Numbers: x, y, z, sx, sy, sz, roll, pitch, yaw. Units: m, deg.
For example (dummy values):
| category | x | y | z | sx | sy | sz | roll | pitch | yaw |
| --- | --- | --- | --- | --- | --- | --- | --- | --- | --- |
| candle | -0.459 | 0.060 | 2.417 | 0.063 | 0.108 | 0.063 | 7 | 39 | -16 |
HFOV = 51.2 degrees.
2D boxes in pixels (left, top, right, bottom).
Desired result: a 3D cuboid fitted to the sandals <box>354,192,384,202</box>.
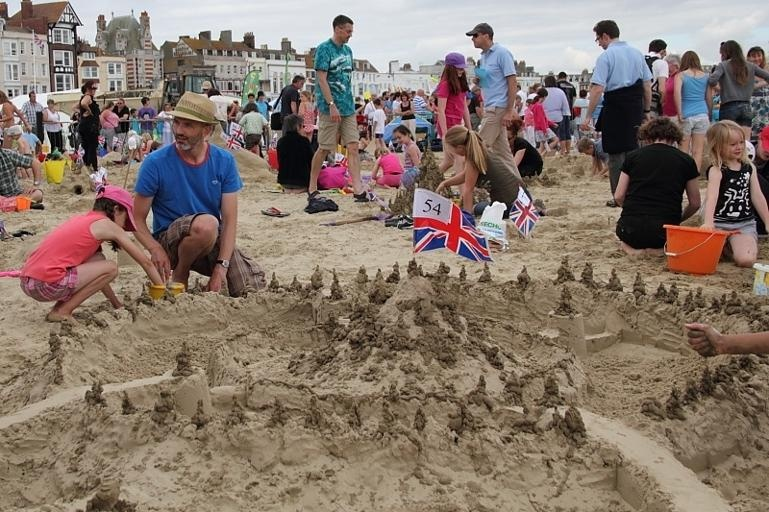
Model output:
| category | x | y | z | sx | sy | sz | roll | pitch | yaw |
| --- | --- | --- | --- | --- | --- | --- | --- | --- | --- |
| sandals | -0.201 | -0.819 | 10.747 | 0.438 | 0.193 | 0.158 | 0 | 9 | 19 |

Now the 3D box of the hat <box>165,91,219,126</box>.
| category | x | y | z | sx | sy | sz | roll | pitch | yaw |
| --- | --- | --- | --- | --- | --- | --- | --- | --- | --- |
| hat | -1.550 | -1.230 | 6.573 | 0.245 | 0.114 | 0.301 | 22 | -6 | 6 |

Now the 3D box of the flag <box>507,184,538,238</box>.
| category | x | y | z | sx | sy | sz | roll | pitch | yaw |
| --- | --- | --- | --- | --- | --- | --- | --- | --- | --- |
| flag | 1.516 | -0.501 | 8.850 | 0.559 | 0.824 | 0.057 | -8 | 9 | -33 |

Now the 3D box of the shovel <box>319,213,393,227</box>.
| category | x | y | z | sx | sy | sz | roll | pitch | yaw |
| --- | --- | --- | --- | --- | --- | --- | --- | --- | --- |
| shovel | -0.363 | -0.499 | 9.850 | 0.897 | 0.106 | 0.464 | -3 | 14 | -16 |

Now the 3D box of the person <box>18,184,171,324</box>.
| category | x | y | z | sx | sy | sz | roll | pitch | yaw |
| --- | --- | --- | --- | --- | --- | --- | --- | --- | --- |
| person | -2.416 | -0.124 | 6.814 | 1.286 | 1.215 | 0.761 | -11 | 26 | -37 |

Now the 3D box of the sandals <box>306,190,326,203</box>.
| category | x | y | z | sx | sy | sz | roll | pitch | yaw |
| --- | --- | --- | --- | --- | --- | --- | --- | --- | --- |
| sandals | -0.951 | -0.822 | 10.699 | 0.121 | 0.162 | 0.352 | -11 | 7 | -40 |

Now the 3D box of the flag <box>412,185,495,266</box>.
| category | x | y | z | sx | sy | sz | roll | pitch | yaw |
| --- | --- | --- | --- | --- | --- | --- | --- | --- | --- |
| flag | 0.692 | -0.293 | 8.010 | 0.848 | 0.711 | 0.103 | 0 | 7 | -15 |

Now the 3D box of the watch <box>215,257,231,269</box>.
| category | x | y | z | sx | sy | sz | roll | pitch | yaw |
| --- | --- | --- | --- | --- | --- | --- | --- | --- | --- |
| watch | -1.394 | 0.032 | 6.933 | 0.079 | 0.087 | 0.086 | 14 | 10 | 15 |

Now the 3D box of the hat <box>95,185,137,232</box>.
| category | x | y | z | sx | sy | sz | roll | pitch | yaw |
| --- | --- | --- | --- | --- | --- | --- | --- | --- | --- |
| hat | -2.173 | -0.448 | 6.646 | 0.385 | 0.209 | 0.261 | 38 | -6 | -29 |

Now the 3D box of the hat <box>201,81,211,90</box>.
| category | x | y | z | sx | sy | sz | roll | pitch | yaw |
| --- | --- | --- | --- | --- | --- | --- | --- | --- | --- |
| hat | -3.803 | -3.648 | 16.906 | 0.290 | 0.154 | 0.306 | 5 | 15 | 15 |

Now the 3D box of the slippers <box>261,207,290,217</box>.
| category | x | y | z | sx | sy | sz | roll | pitch | yaw |
| --- | --- | --- | --- | --- | --- | --- | --- | --- | --- |
| slippers | -1.424 | -0.588 | 10.342 | 0.365 | 0.130 | 0.164 | 8 | 17 | 38 |

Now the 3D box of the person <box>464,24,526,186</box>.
| category | x | y | z | sx | sy | sz | roll | pitch | yaw |
| --- | --- | --- | --- | --- | --- | --- | --- | --- | --- |
| person | 1.361 | -1.990 | 9.922 | 0.653 | 1.778 | 1.183 | 1 | 12 | 3 |

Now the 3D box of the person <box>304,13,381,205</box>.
| category | x | y | z | sx | sy | sz | roll | pitch | yaw |
| --- | --- | --- | --- | --- | --- | --- | --- | --- | --- |
| person | -0.596 | -1.888 | 10.401 | 0.797 | 2.424 | 1.297 | 0 | 12 | -5 |

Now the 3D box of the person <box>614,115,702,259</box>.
| category | x | y | z | sx | sy | sz | roll | pitch | yaw |
| --- | --- | --- | --- | --- | --- | --- | --- | --- | --- |
| person | 2.729 | -0.722 | 7.966 | 0.814 | 1.313 | 0.644 | 4 | 12 | 16 |

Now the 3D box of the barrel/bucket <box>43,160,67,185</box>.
| category | x | y | z | sx | sy | sz | roll | pitch | yaw |
| --- | --- | --- | --- | --- | --- | --- | --- | --- | --- |
| barrel/bucket | -5.537 | -1.423 | 13.603 | 0.401 | 0.509 | 0.394 | -1 | 0 | 0 |

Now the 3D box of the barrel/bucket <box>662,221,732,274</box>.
| category | x | y | z | sx | sy | sz | roll | pitch | yaw |
| --- | --- | --- | --- | --- | --- | --- | --- | --- | --- |
| barrel/bucket | 2.867 | -0.070 | 7.407 | 0.462 | 0.393 | 0.498 | 6 | 0 | 0 |

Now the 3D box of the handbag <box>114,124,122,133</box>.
| category | x | y | z | sx | sy | sz | roll | pitch | yaw |
| --- | --- | --- | --- | --- | --- | --- | --- | --- | --- |
| handbag | -6.296 | -3.058 | 18.895 | 0.122 | 0.128 | 0.117 | 0 | -4 | -21 |
